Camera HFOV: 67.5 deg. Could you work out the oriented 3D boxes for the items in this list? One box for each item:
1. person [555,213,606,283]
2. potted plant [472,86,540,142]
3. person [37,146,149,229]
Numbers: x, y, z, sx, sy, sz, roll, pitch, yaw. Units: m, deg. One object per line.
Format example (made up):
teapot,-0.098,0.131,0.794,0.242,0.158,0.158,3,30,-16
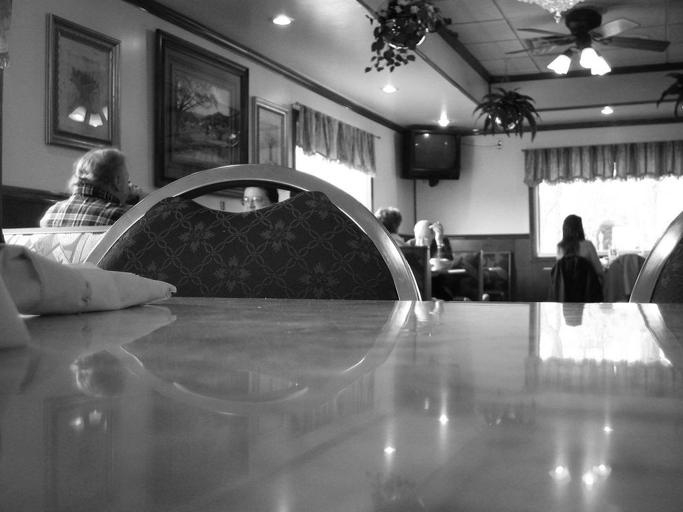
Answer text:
person,2.835,-0.058,6.083,0.583,0.962,0.596,-4,8,18
potted plant,2.022,-1.752,6.118,0.706,0.478,0.645,11,3,39
person,-1.582,-0.405,3.369,0.774,0.549,0.402,4,7,31
